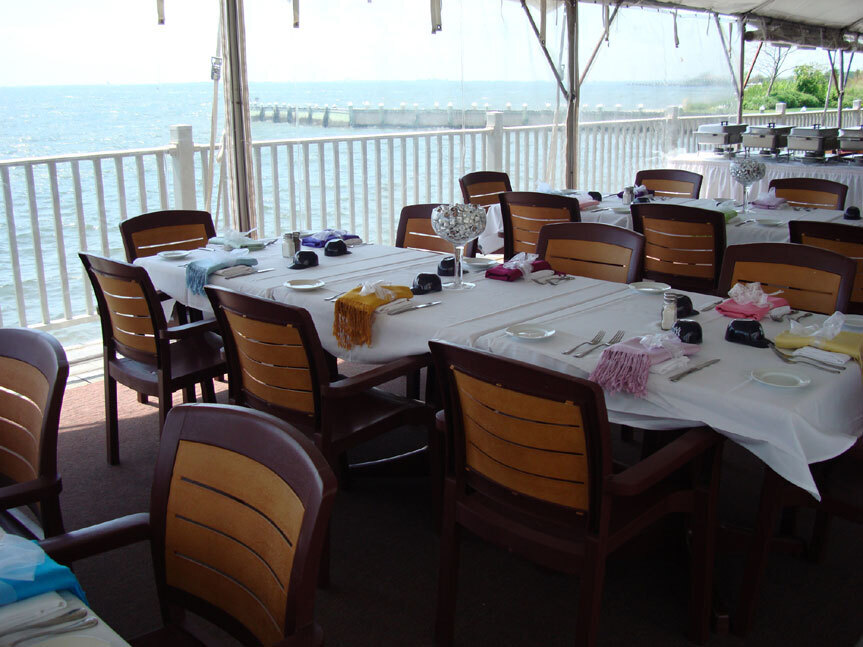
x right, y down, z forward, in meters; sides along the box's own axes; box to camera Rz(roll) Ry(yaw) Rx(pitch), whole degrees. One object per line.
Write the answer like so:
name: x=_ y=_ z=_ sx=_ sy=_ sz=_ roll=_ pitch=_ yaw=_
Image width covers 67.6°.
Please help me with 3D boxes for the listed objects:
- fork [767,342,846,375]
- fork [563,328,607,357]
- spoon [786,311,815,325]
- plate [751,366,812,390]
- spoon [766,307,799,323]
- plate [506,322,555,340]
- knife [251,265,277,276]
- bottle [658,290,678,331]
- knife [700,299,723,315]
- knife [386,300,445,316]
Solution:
fork: x=1.090 y=0.103 z=1.854 sx=0.164 sy=0.028 sz=0.027 roll=23 pitch=48 yaw=31
fork: x=0.503 y=0.041 z=2.036 sx=0.052 sy=0.033 sz=0.265 roll=18 pitch=31 yaw=40
spoon: x=1.258 y=-0.024 z=2.208 sx=0.084 sy=0.022 sz=0.080 roll=-17 pitch=24 yaw=-30
plate: x=0.948 y=0.148 z=1.745 sx=0.146 sy=0.025 sz=0.114 roll=-3 pitch=14 yaw=-5
spoon: x=1.208 y=-0.037 z=2.207 sx=0.070 sy=0.023 sz=0.050 roll=-19 pitch=20 yaw=-34
plate: x=0.322 y=0.026 z=2.097 sx=0.155 sy=0.026 sz=0.133 roll=-2 pitch=14 yaw=-2
knife: x=-0.771 y=-0.246 z=2.976 sx=0.034 sy=0.022 sz=0.122 roll=32 pitch=28 yaw=33
bottle: x=0.778 y=-0.046 z=2.103 sx=0.050 sy=0.111 sz=0.123 roll=3 pitch=16 yaw=19
knife: x=1.012 y=-0.062 z=2.328 sx=0.046 sy=0.024 sz=0.180 roll=18 pitch=26 yaw=36
knife: x=-0.062 y=-0.063 z=2.376 sx=0.221 sy=0.004 sz=0.062 roll=-8 pitch=43 yaw=-36
